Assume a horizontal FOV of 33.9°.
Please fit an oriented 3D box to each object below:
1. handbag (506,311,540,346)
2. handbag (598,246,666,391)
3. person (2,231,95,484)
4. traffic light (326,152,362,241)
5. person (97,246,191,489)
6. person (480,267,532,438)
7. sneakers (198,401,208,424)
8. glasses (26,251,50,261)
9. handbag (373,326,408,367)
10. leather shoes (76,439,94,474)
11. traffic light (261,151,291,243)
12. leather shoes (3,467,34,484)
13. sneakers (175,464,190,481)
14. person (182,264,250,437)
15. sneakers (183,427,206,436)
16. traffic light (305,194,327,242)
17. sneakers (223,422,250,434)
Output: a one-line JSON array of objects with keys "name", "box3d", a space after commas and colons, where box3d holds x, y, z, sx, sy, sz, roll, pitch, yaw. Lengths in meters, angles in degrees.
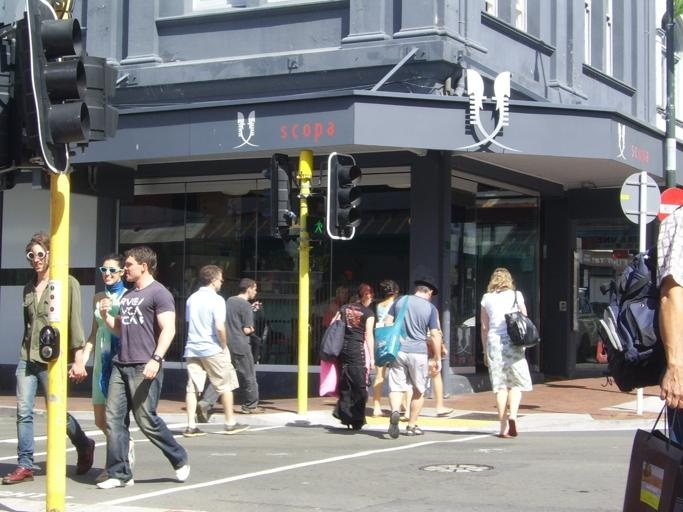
[{"name": "handbag", "box3d": [2.345, 0.960, 14.586, 0.399, 0.456, 0.301, -1, -4, 7]}, {"name": "handbag", "box3d": [2.463, 0.563, 9.727, 0.624, 1.237, 0.896, 4, -2, -8]}, {"name": "person", "box3d": [-3.193, 1.099, 12.144, 0.933, 2.706, 1.059, 1, -4, -14]}, {"name": "traffic light", "box3d": [0.023, -0.839, 15.888, 0.513, 1.201, 0.379, 1, -4, -12]}, {"name": "person", "box3d": [-2.159, 1.187, 12.002, 0.826, 2.574, 0.504, -1, -4, 14]}, {"name": "person", "box3d": [2.174, 1.293, 14.850, 0.486, 2.235, 0.737, 3, -5, -37]}, {"name": "sneakers", "box3d": [-2.012, 2.297, 16.058, 0.123, 0.374, 0.152, -4, 27, 11]}, {"name": "glasses", "box3d": [-3.262, 0.014, 11.955, 0.208, 0.085, 0.163, 1, -4, -15]}, {"name": "handbag", "box3d": [0.604, 1.215, 14.934, 0.446, 0.603, 0.317, -22, -50, 22]}, {"name": "leather shoes", "box3d": [-2.912, 2.276, 12.605, 0.147, 0.454, 0.170, 0, -2, 24]}, {"name": "traffic light", "box3d": [-0.881, -0.847, 16.174, 0.523, 1.192, 0.429, 2, -4, -25]}, {"name": "leather shoes", "box3d": [-3.471, 2.372, 12.079, 0.129, 0.174, 0.357, -2, -9, 38]}, {"name": "sneakers", "box3d": [-1.727, 2.360, 12.116, 0.119, 0.233, 0.096, 7, 19, -10]}, {"name": "person", "box3d": [-1.759, 1.280, 15.030, 0.695, 2.282, 0.651, 0, -4, -8]}, {"name": "sneakers", "box3d": [-1.983, 2.375, 15.060, 0.120, 0.115, 0.271, 1, 1, 38]}, {"name": "traffic light", "box3d": [-0.382, -0.518, 16.218, 0.353, 0.906, 0.087, 4, -30, -11]}, {"name": "sneakers", "box3d": [-1.434, 2.355, 15.326, 0.332, 0.146, 0.128, -2, 4, -37]}]
